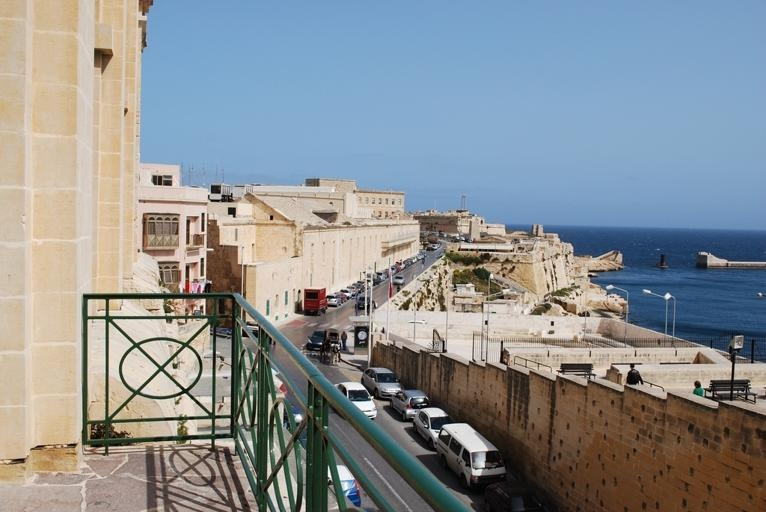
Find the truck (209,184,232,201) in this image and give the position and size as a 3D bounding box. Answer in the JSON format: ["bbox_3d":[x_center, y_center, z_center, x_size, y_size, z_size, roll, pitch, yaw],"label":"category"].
[{"bbox_3d":[-13.720,-5.283,67.641,1.851,1.541,18.270,3,3,-12],"label":"truck"}]

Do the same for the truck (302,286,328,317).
[{"bbox_3d":[-4.077,2.600,46.927,1.061,1.056,1.711,1,7,4],"label":"truck"}]

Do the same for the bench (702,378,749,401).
[{"bbox_3d":[8.127,3.122,18.622,0.794,0.310,0.764,0,6,2],"label":"bench"}]

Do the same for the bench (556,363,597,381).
[{"bbox_3d":[5.318,3.117,22.044,1.020,0.464,0.354,2,17,-7],"label":"bench"}]

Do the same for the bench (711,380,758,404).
[{"bbox_3d":[8.146,3.141,18.619,0.853,0.342,0.779,0,7,-1],"label":"bench"}]

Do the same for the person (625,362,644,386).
[{"bbox_3d":[6.209,2.938,19.848,0.401,0.770,0.218,1,16,13],"label":"person"}]

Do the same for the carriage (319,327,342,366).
[{"bbox_3d":[-2.313,3.839,35.887,0.877,1.309,1.404,1,1,-6],"label":"carriage"}]
